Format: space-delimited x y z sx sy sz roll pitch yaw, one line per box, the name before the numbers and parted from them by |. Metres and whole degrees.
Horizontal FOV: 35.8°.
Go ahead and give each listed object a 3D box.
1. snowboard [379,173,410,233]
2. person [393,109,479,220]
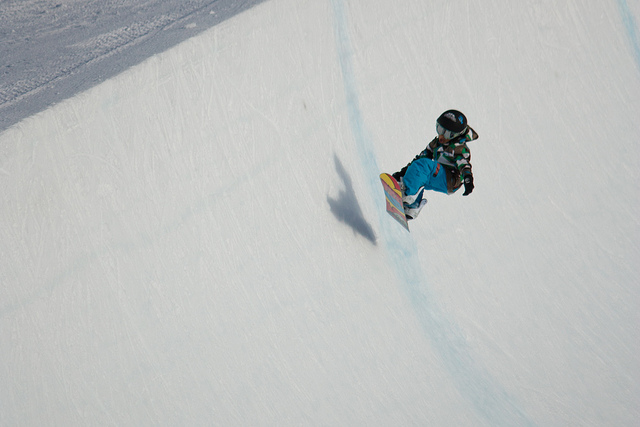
snowboard | 0.909 -0.203 11.995 0.297 1.057 0.158 27 67 24
person | 1.349 -0.635 12.061 0.541 0.918 0.949 11 22 -25
